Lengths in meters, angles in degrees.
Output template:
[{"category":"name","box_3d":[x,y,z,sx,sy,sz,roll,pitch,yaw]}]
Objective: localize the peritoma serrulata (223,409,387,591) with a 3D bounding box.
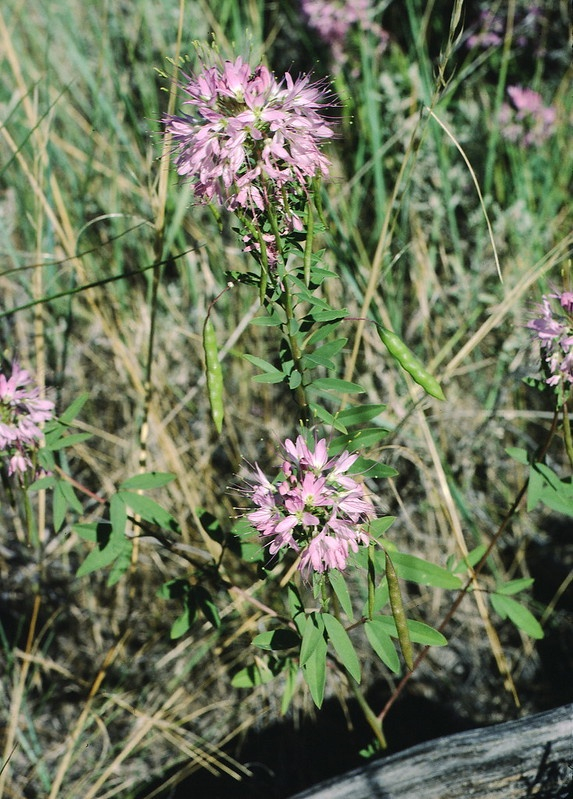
[{"category":"peritoma serrulata","box_3d":[0.063,0.295,2.103,0.412,0.422,0.400,-27,77,-6]}]

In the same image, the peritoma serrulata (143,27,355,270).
[{"category":"peritoma serrulata","box_3d":[-0.058,-0.610,2.057,0.492,0.585,0.491,-12,63,10]}]
